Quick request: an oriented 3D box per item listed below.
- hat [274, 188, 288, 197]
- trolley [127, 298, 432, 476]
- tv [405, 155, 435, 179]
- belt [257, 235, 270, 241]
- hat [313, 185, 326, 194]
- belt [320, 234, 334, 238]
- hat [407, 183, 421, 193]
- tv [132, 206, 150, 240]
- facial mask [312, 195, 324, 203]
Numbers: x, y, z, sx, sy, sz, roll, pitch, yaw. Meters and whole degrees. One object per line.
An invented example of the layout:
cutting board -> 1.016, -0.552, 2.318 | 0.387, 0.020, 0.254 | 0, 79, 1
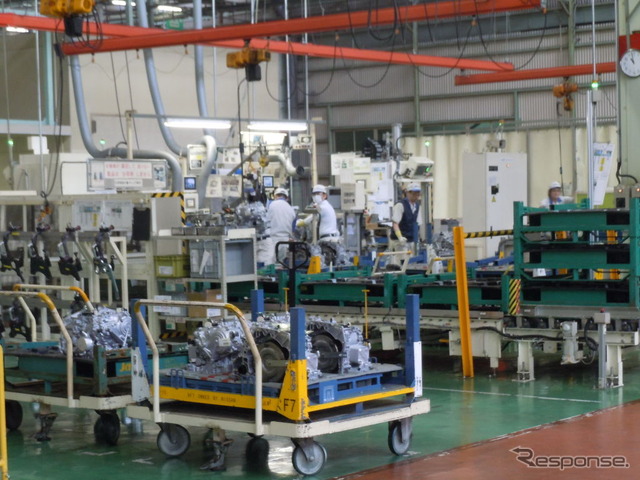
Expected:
hat -> -0.613, -0.742, 20.523 | 0.183, 0.151, 0.138 | -5, 7, -17
trolley -> -0.243, 1.296, 14.499 | 1.902, 1.724, 2.549 | 0, 1, 37
tv -> 1.791, -1.325, 23.690 | 0.479, 0.383, 0.384 | -3, 10, -24
belt -> -0.874, -0.028, 19.929 | 0.182, 0.090, 0.264 | -1, 1, -3
hat -> -0.027, -0.816, 21.206 | 0.244, 0.142, 0.345 | 1, -4, 4
belt -> 0.106, -0.059, 20.597 | 0.218, 0.050, 0.106 | -1, 1, 0
hat -> 1.423, -0.799, 20.183 | 0.162, 0.124, 0.169 | 1, 4, 18
tv -> -2.509, -0.221, 18.250 | 0.265, 0.456, 0.189 | -1, 1, -10
facial mask -> -0.043, -0.643, 20.745 | 0.101, 0.083, 0.130 | 0, -3, 15
